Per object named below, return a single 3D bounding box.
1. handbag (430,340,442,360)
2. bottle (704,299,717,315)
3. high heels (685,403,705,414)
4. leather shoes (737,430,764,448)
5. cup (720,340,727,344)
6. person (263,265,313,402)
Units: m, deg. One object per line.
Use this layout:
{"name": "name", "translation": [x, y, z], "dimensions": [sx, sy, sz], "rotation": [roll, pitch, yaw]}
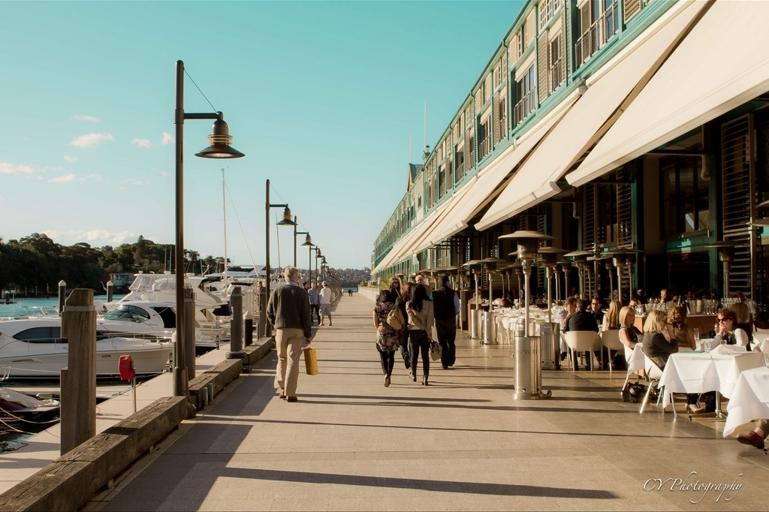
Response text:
{"name": "handbag", "translation": [1.187, 2.182, 16.476], "dimensions": [0.205, 0.448, 0.369], "rotation": [-2, 3, 2]}
{"name": "bottle", "translation": [8.271, 1.267, 17.812], "dimensions": [0.278, 0.407, 0.114], "rotation": [-1, -32, 29]}
{"name": "high heels", "translation": [5.894, 2.883, 13.369], "dimensions": [0.178, 0.110, 0.275], "rotation": [4, -10, -19]}
{"name": "leather shoes", "translation": [5.875, 2.952, 11.337], "dimensions": [0.499, 0.289, 0.208], "rotation": [-2, 3, -9]}
{"name": "cup", "translation": [6.356, 1.602, 13.174], "dimensions": [0.073, 0.051, 0.073], "rotation": [0, -1, 0]}
{"name": "person", "translation": [-1.967, 1.592, 14.845], "dimensions": [0.635, 2.737, 0.804], "rotation": [-4, 4, -39]}
